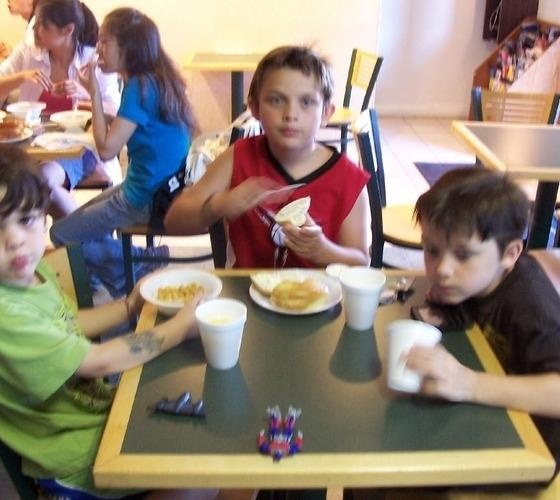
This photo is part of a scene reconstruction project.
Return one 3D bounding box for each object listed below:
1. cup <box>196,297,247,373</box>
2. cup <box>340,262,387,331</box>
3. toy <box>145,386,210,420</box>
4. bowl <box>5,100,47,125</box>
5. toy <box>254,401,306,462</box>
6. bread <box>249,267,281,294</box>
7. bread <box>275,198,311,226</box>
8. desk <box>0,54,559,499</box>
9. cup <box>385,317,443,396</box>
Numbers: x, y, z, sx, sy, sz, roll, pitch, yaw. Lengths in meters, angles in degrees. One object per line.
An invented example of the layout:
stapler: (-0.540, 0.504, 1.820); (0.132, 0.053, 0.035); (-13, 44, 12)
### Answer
cup: (-0.110, 0.156, 0.888); (0.094, 0.106, 0.117); (-7, 26, -12)
cup: (0.159, 0.092, 1.002); (0.103, 0.137, 0.115); (-1, 20, -3)
toy: (-0.167, 0.253, 0.769); (0.058, 0.026, 0.047); (-2, 3, -1)
bowl: (-1.383, -0.764, 2.561); (0.216, 0.084, 0.210); (3, 29, -2)
toy: (0.003, 0.284, 0.718); (0.062, 0.045, 0.095); (8, 31, 11)
bread: (-0.033, 0.071, 1.129); (0.049, 0.015, 0.056); (-1, 44, -4)
bread: (0.035, -0.104, 1.250); (0.084, 0.047, 0.129); (3, 27, 9)
desk: (0.049, 0.225, 1.578); (0.763, 0.625, 1.374); (7, 50, 4)
cup: (0.260, 0.210, 0.825); (0.075, 0.099, 0.081); (-6, -12, -1)
